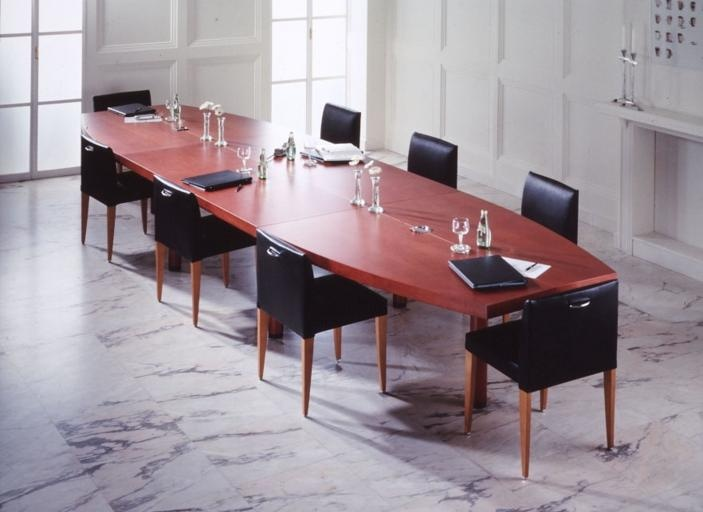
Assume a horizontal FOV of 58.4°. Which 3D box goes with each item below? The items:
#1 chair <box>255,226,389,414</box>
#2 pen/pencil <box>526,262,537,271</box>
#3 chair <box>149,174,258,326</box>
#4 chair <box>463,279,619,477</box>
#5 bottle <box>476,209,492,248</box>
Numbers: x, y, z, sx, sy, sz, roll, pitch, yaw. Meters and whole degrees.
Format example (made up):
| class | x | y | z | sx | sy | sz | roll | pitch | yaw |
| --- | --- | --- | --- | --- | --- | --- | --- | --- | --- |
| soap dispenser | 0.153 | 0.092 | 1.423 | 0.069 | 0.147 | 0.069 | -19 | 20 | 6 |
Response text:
| class | x | y | z | sx | sy | sz | roll | pitch | yaw |
| --- | --- | --- | --- | --- | --- | --- | --- | --- | --- |
| chair | -0.170 | 0.320 | 3.649 | 0.615 | 0.896 | 0.563 | -10 | 22 | -31 |
| pen/pencil | 0.903 | 0.055 | 3.168 | 0.098 | 0.010 | 0.010 | -24 | 9 | -37 |
| chair | -1.003 | -0.067 | 4.558 | 0.612 | 0.974 | 0.702 | 21 | 23 | 41 |
| chair | 0.956 | 0.536 | 3.196 | 0.551 | 0.874 | 0.569 | -10 | 17 | -21 |
| bottle | 0.731 | -0.160 | 3.458 | 0.082 | 0.210 | 0.253 | 3 | 13 | 11 |
